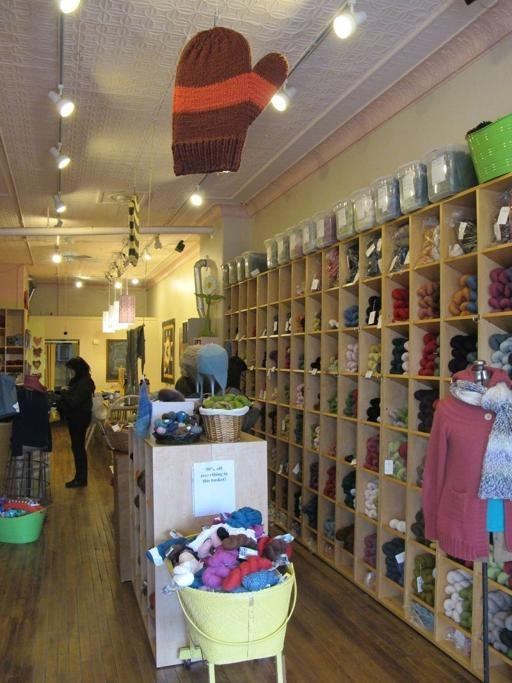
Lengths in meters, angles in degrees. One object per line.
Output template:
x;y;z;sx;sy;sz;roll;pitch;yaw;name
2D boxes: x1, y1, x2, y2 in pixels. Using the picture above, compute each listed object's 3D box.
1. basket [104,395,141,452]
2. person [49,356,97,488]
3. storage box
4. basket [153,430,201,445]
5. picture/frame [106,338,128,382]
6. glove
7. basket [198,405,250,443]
-1.095;0.658;4.044;0.229;0.316;0.187;11;5;-37;basket
-2.217;0.977;6.392;0.463;1.475;0.717;-3;0;-20;person
0.937;-0.851;2.761;0.233;0.161;0.334;-17;-2;-30;storage box
-0.365;0.450;2.417;0.205;0.050;0.129;-3;0;-12;basket
-3.701;0.512;14.036;0.039;1.196;0.875;-1;-3;36;picture/frame
-0.118;-0.995;2.154;0.497;0.612;0.210;-3;0;5;glove
-0.166;0.391;2.474;0.176;0.122;0.176;-3;-4;12;basket
